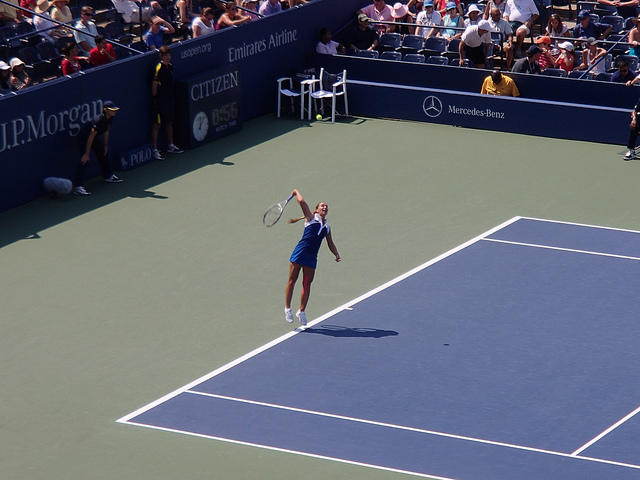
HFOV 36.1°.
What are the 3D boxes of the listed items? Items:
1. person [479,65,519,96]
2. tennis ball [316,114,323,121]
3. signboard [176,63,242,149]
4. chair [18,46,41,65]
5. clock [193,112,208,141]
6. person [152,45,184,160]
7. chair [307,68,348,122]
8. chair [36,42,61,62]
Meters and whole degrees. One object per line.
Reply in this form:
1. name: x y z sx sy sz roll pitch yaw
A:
1. person: 4.551 -4.230 25.179 1.126 1.048 0.659 2 19 18
2. tennis ball: 0.006 -3.170 26.107 0.149 0.092 0.150 0 28 0
3. signboard: -2.798 -3.245 24.262 0.276 1.564 1.842 11 27 34
4. chair: -6.894 -4.314 23.367 0.286 0.328 0.585 18 28 33
5. clock: -2.940 -2.744 24.163 0.040 0.709 0.716 3 3 26
6. person: -3.698 -3.187 23.200 0.437 2.638 0.856 19 29 34
7. chair: 0.214 -3.746 26.308 1.128 1.543 1.010 8 18 26
8. chair: -6.616 -4.516 23.908 0.496 0.550 0.504 14 27 35
